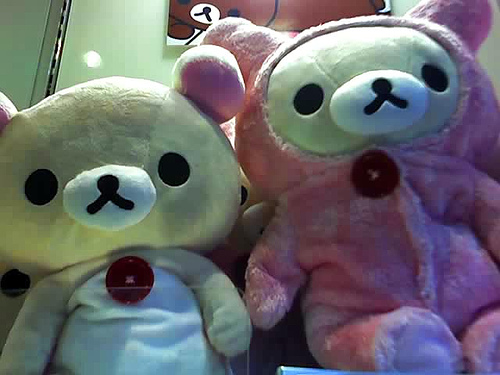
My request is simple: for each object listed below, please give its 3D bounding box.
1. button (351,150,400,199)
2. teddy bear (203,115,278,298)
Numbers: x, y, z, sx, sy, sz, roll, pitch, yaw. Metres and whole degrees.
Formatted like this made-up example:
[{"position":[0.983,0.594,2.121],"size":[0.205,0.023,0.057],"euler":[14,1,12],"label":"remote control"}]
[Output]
[{"position":[0.212,-0.021,1.143],"size":[0.080,0.018,0.079],"euler":[8,91,11],"label":"button"},{"position":[-0.013,0.049,1.224],"size":[0.104,0.105,0.335],"euler":[-7,108,-19],"label":"teddy bear"}]
